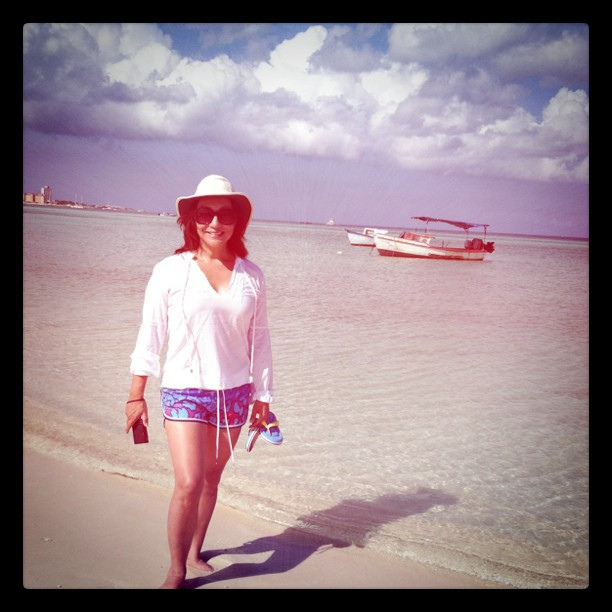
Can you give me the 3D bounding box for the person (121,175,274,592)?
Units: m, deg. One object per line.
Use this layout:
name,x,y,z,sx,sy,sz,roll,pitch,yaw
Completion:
person,-0.645,0.494,3.205,0.603,2.590,0.797,11,11,30

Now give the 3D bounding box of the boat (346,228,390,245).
boat,5.469,-5.808,43.617,4.614,1.107,1.330,2,2,-4

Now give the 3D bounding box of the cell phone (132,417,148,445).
cell phone,-0.974,0.734,3.052,0.085,0.182,0.180,3,9,-18
